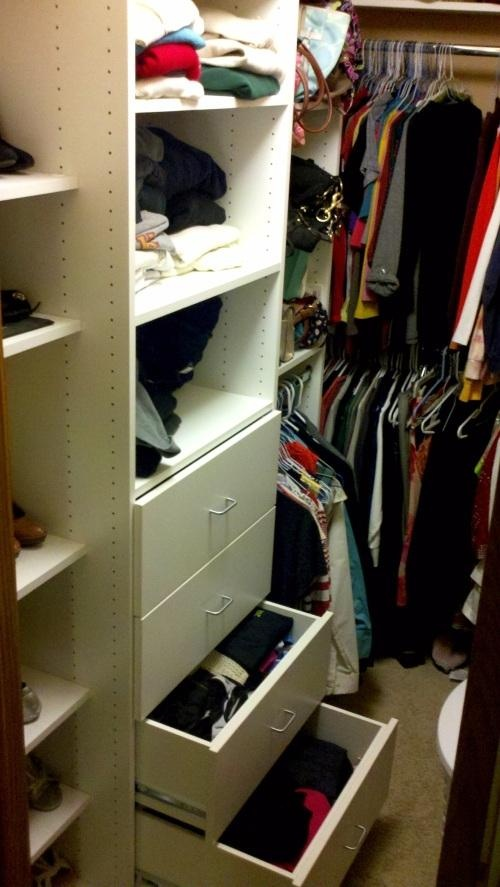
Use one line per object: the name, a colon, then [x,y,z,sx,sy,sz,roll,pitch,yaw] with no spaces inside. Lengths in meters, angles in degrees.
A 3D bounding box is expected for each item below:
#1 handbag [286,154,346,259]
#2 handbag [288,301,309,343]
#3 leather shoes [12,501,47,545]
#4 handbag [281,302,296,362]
handbag: [0.183,-0.653,1.974,0.222,0.260,0.173,9,1,33]
handbag: [0.140,-0.356,1.993,0.034,0.108,0.076,16,21,28]
leather shoes: [-0.422,0.149,1.300,0.057,0.067,0.122,-5,26,-18]
handbag: [0.106,-0.319,1.923,0.046,0.135,0.099,11,41,13]
